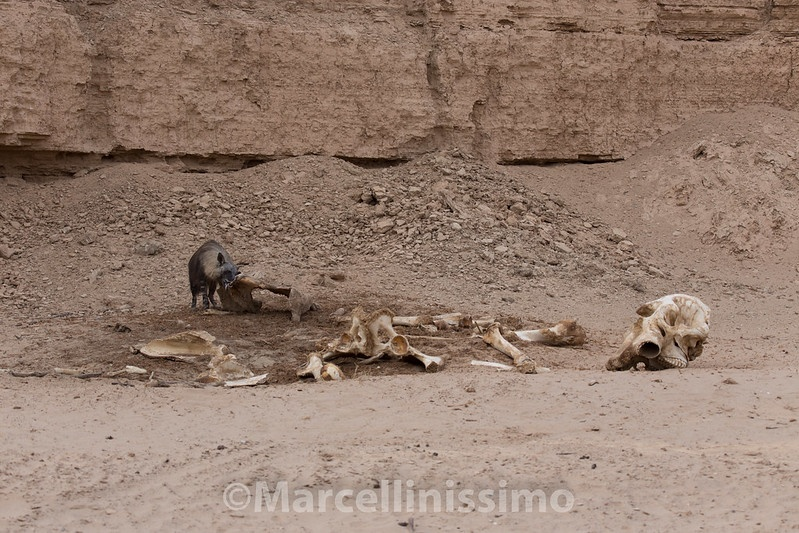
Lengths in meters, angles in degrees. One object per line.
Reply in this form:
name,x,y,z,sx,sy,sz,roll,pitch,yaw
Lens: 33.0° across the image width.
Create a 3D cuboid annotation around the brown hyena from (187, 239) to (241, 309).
brown hyena,-2.762,0.110,19.746,0.507,0.912,1.419,-4,6,-31
